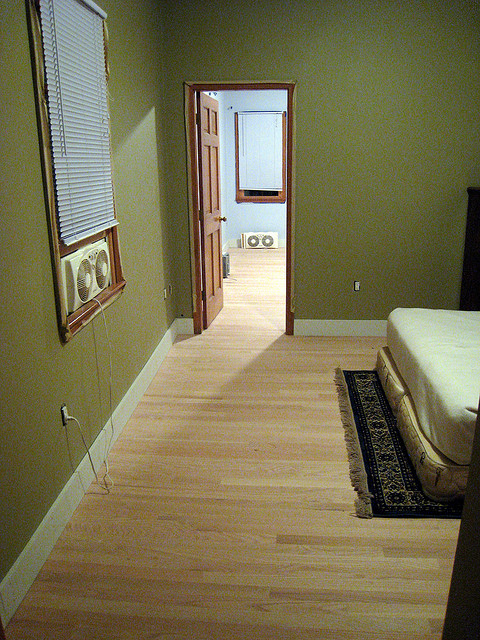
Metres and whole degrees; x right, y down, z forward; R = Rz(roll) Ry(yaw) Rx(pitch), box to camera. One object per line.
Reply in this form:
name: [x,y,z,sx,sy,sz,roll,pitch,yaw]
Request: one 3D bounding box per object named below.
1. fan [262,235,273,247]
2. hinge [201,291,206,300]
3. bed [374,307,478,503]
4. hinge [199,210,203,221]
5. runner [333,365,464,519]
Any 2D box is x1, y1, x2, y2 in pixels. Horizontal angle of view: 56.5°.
fan: [0.536,-1.480,8.309,0.210,0.221,0.048,0,10,4]
hinge: [-0.338,-0.237,4.242,0.052,0.091,0.045,0,10,0]
bed: [0.888,0.406,2.117,0.329,0.267,0.705,5,33,6]
hinge: [-0.348,-0.949,4.026,0.057,0.100,0.049,1,13,6]
runner: [0.719,0.632,2.251,0.503,0.299,1.361,3,16,4]
